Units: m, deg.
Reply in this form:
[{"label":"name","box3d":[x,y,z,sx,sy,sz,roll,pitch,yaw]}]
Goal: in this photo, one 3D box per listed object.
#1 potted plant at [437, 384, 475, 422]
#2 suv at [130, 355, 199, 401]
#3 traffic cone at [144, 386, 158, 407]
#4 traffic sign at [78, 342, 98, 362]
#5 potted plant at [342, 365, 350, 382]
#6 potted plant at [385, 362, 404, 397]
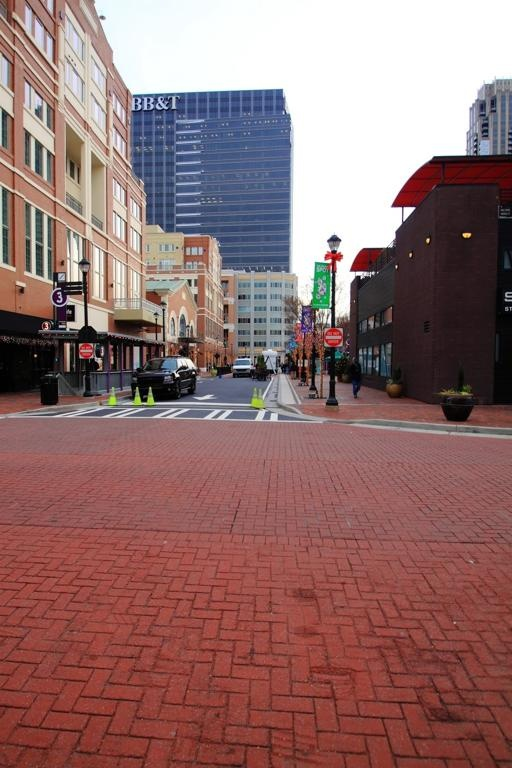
[{"label":"potted plant","box3d":[4.633,0.415,14.699,0.646,0.791,1.005,1,3,18]},{"label":"suv","box3d":[-3.394,-0.254,23.886,1.118,1.390,2.766,-1,-1,8]},{"label":"traffic cone","box3d":[-3.432,0.376,20.381,0.426,0.770,0.471,1,0,-17]},{"label":"traffic sign","box3d":[-5.932,-1.210,22.129,0.437,0.565,1.111,0,3,-10]},{"label":"potted plant","box3d":[5.289,-0.714,38.274,0.749,1.121,0.891,0,3,11]},{"label":"potted plant","box3d":[5.242,-0.222,23.917,0.752,1.899,1.013,1,1,14]}]
